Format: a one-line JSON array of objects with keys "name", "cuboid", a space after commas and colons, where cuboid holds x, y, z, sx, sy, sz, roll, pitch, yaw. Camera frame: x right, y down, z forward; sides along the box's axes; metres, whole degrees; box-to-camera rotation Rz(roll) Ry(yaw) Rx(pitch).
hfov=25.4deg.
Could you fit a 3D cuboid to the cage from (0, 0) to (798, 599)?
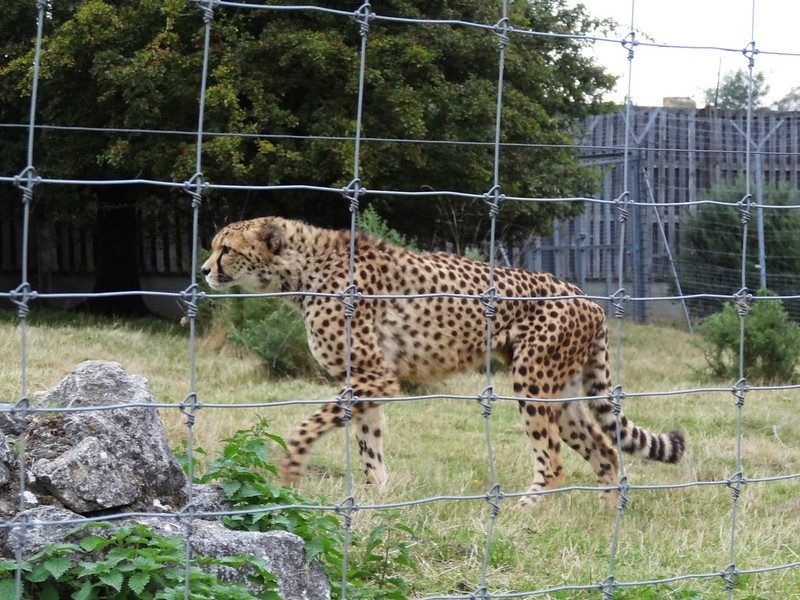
[{"name": "cage", "cuboid": [-0.052, -0.564, 19.616, 8.841, 6.995, 8.589, 0, -2, 15]}]
